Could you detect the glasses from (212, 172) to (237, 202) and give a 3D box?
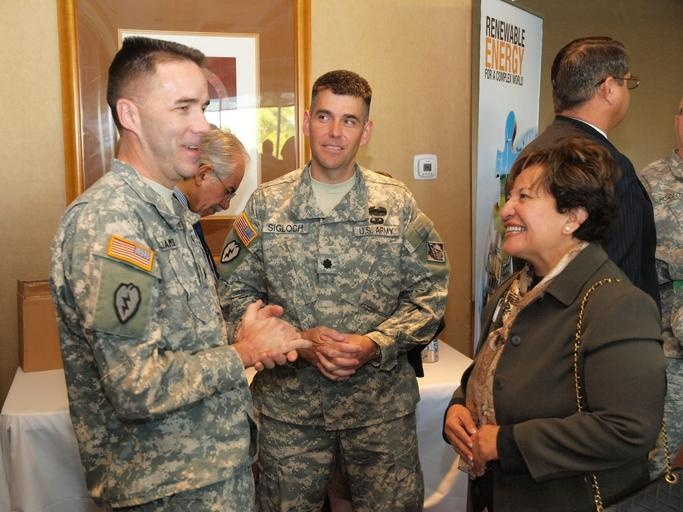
[{"bbox_3d":[-0.599,-0.345,2.871,0.031,0.107,0.101,-30,-10,16],"label":"glasses"}]
